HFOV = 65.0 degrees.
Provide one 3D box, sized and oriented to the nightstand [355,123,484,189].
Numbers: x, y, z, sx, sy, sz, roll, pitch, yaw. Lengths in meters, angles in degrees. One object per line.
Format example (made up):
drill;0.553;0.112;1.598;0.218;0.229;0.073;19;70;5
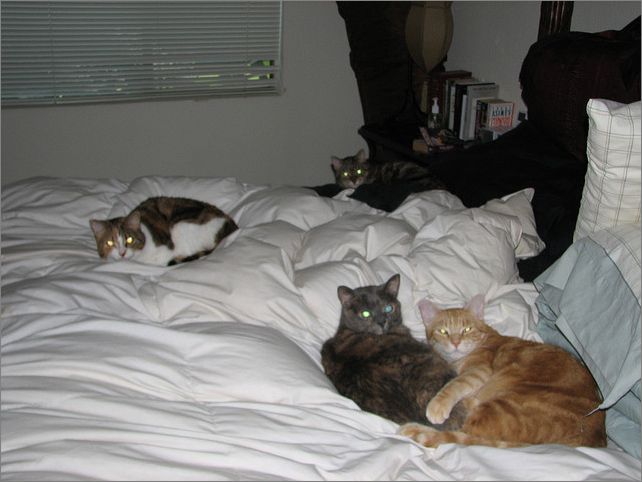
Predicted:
nightstand;0.548;-0.530;3.100;0.557;0.344;0.698;11;28;21

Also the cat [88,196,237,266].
cat;-0.708;-0.034;2.244;0.468;0.187;0.345;-22;30;-40

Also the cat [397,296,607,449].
cat;0.541;0.392;1.530;0.591;0.310;0.426;1;17;8

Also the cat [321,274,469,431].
cat;0.207;0.384;1.559;0.281;0.210;0.480;-25;38;-6
